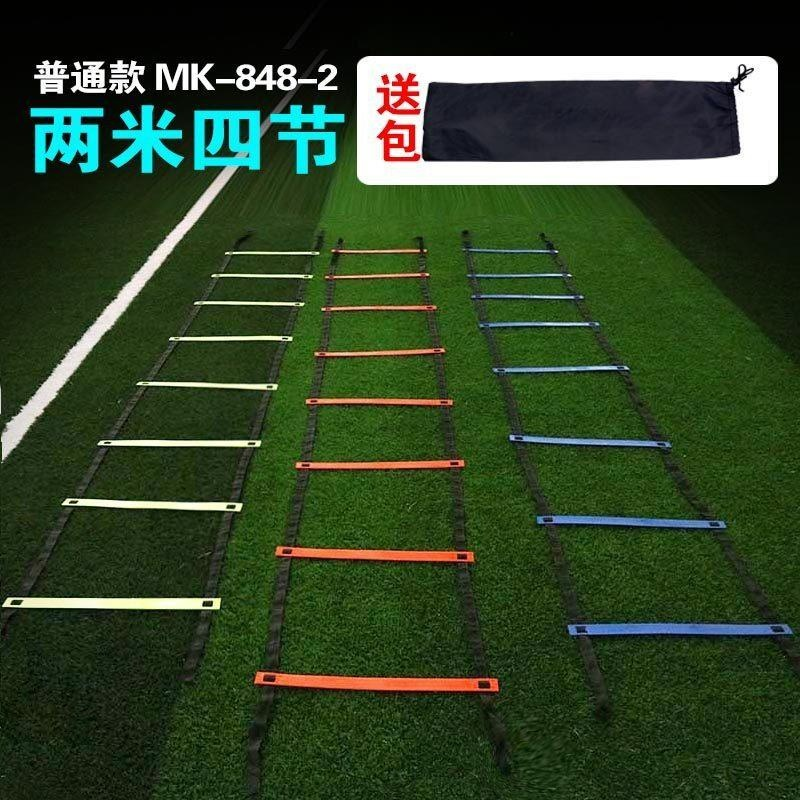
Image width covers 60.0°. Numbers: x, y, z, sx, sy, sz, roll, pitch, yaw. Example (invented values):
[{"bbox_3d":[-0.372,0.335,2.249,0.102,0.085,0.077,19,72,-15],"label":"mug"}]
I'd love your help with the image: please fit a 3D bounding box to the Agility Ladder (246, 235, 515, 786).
[{"bbox_3d":[-0.158,0.439,4.281,1.108,2.709,2.491,2,-9,-4],"label":"Agility Ladder"}]
